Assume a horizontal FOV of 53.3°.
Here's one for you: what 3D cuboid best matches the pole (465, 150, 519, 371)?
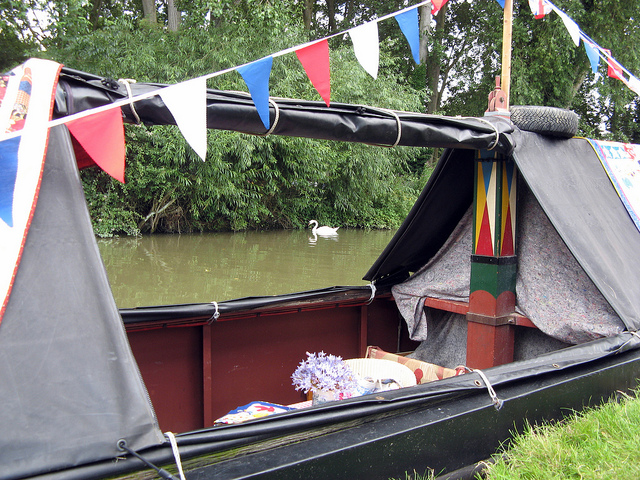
[{"bbox_3d":[1.281,0.167,4.705,0.378,1.612,0.471,4,16,13],"label":"pole"}]

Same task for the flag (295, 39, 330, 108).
[{"bbox_3d":[-0.045,-0.921,3.535,0.192,0.372,0.380,0,15,0],"label":"flag"}]

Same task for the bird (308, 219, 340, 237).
[{"bbox_3d":[0.088,-0.231,20.401,1.016,0.393,0.699,0,60,-5],"label":"bird"}]

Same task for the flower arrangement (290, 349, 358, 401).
[{"bbox_3d":[0.015,0.819,3.846,0.257,0.297,0.271,1,-11,0],"label":"flower arrangement"}]

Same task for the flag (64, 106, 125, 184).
[{"bbox_3d":[-1.013,-0.430,2.973,0.257,0.069,0.403,-23,73,-34],"label":"flag"}]

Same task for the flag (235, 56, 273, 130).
[{"bbox_3d":[-0.345,-0.768,3.358,0.183,0.382,0.203,-1,15,-7],"label":"flag"}]

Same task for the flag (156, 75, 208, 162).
[{"bbox_3d":[-0.651,-0.593,3.037,0.250,0.352,0.378,-3,16,-14],"label":"flag"}]
